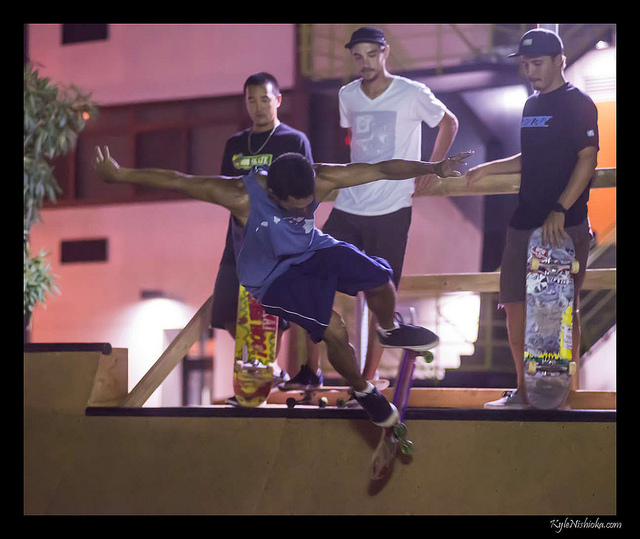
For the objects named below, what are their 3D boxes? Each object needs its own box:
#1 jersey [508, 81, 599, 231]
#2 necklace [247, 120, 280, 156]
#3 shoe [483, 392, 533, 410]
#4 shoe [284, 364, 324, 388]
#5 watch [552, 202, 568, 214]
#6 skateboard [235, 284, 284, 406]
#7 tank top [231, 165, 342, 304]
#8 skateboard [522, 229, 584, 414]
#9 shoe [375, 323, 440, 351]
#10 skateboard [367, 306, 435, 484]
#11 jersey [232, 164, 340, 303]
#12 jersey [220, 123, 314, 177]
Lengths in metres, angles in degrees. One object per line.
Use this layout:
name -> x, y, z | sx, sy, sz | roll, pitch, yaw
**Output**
jersey -> 1.625, -0.784, 6.936 | 0.570, 1.034, 0.310 | 3, 7, 10
necklace -> -0.416, -0.969, 7.305 | 0.179, 0.292, 0.050 | 23, 4, 22
shoe -> 1.271, 0.882, 6.761 | 0.323, 0.135, 0.123 | 1, -11, 4
shoe -> -0.088, 0.747, 7.016 | 0.342, 0.150, 0.112 | -3, 9, -36
watch -> 1.634, -0.421, 6.823 | 0.090, 0.058, 0.092 | 26, -2, -36
skateboard -> -0.452, 0.486, 6.969 | 0.306, 1.222, 0.190 | 7, 48, 0
tank top -> -0.203, -0.274, 6.794 | 0.806, 0.975, 0.608 | -9, 17, -26
skateboard -> 1.537, 0.289, 6.776 | 0.333, 0.174, 1.232 | -1, 51, 12
shoe -> 0.571, 0.443, 6.511 | 0.397, 0.189, 0.163 | 0, 42, 7
skateboard -> 0.517, 0.829, 6.580 | 0.290, 1.129, 0.232 | 5, -7, 44
jersey -> -0.232, -0.230, 6.580 | 0.649, 0.993, 0.688 | 4, 19, 43
jersey -> -0.392, -0.858, 7.233 | 0.709, 0.573, 0.247 | 0, -1, 14
